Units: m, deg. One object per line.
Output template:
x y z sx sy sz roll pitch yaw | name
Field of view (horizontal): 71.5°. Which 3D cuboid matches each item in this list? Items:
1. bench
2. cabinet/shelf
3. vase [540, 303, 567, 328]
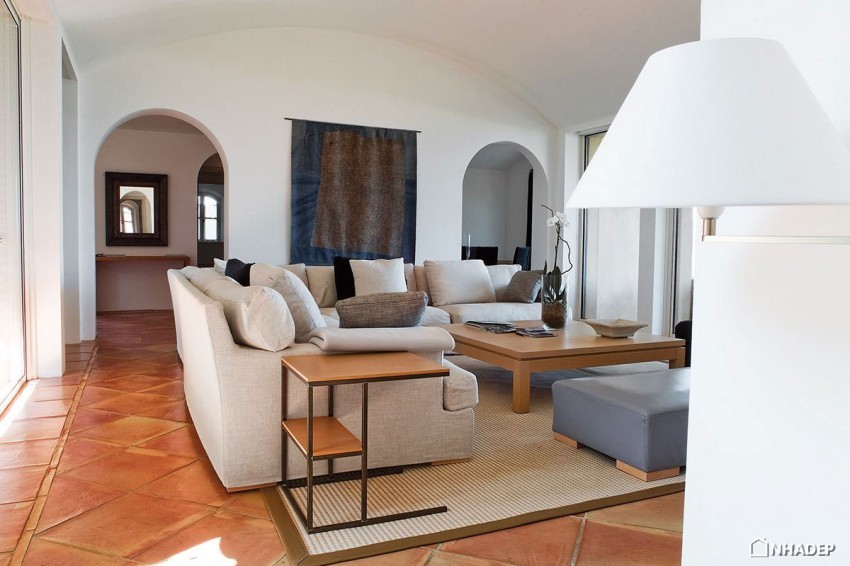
1.152 0.738 3.211 0.546 0.302 0.708 1 0 -16 | bench
-0.396 0.655 2.913 0.778 0.702 0.777 -1 8 -20 | cabinet/shelf
1.040 0.273 4.905 0.219 0.201 0.205 0 -2 -6 | vase
